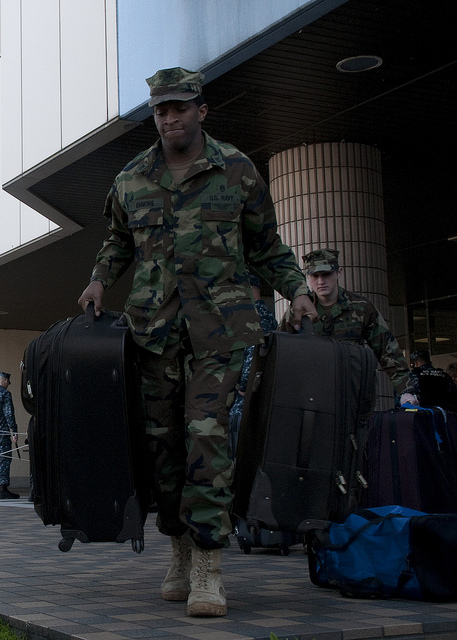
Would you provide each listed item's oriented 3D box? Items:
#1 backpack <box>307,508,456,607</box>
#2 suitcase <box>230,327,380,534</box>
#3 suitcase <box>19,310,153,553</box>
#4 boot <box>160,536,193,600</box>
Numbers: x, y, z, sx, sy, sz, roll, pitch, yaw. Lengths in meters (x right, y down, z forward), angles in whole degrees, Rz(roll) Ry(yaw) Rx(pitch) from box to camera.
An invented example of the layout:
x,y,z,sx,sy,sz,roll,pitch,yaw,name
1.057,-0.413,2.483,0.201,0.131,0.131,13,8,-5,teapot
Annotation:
x,y,z,sx,sy,sz,roll,pitch,yaw,name
0.507,0.768,2.473,0.389,0.194,0.418,-5,-9,38,backpack
0.257,0.354,2.433,0.492,0.633,0.358,-2,-5,-1,suitcase
-0.368,0.359,2.566,0.530,0.752,0.563,-5,-6,16,suitcase
-0.148,0.800,2.449,0.076,0.162,0.180,4,6,7,boot
